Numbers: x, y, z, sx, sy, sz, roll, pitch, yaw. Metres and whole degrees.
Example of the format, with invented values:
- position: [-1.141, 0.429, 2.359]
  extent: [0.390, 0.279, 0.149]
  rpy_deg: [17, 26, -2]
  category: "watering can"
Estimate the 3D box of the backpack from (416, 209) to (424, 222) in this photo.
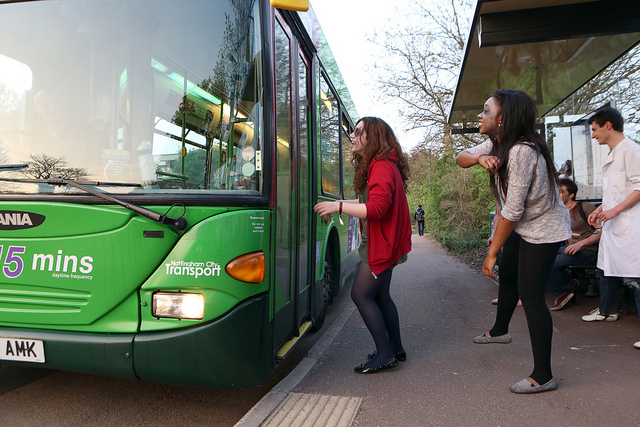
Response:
- position: [6.898, 0.173, 27.618]
  extent: [0.430, 0.741, 0.677]
  rpy_deg: [-3, -7, 30]
  category: "backpack"

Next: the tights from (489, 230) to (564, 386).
- position: [2.289, 1.084, 4.450]
  extent: [0.434, 1.892, 0.857]
  rpy_deg: [-12, 21, 5]
  category: "tights"

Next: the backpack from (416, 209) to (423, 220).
- position: [6.826, 0.053, 27.733]
  extent: [0.325, 0.752, 0.535]
  rpy_deg: [-5, 10, -28]
  category: "backpack"

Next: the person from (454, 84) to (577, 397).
- position: [2.156, 0.191, 4.555]
  extent: [0.967, 2.976, 1.546]
  rpy_deg: [0, 4, -4]
  category: "person"

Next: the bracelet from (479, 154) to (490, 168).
- position: [1.744, -0.568, 4.230]
  extent: [0.037, 0.165, 0.171]
  rpy_deg: [-17, 9, 23]
  category: "bracelet"
